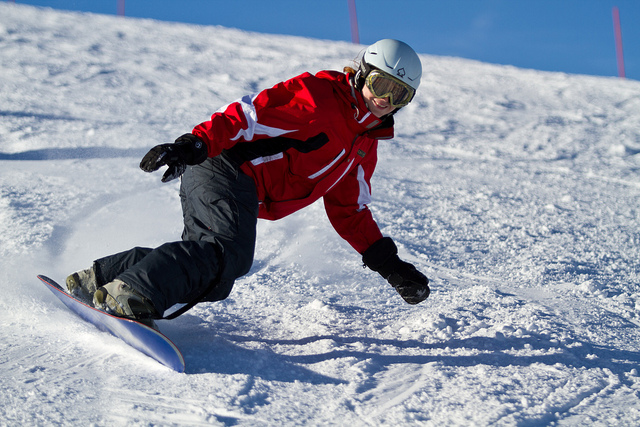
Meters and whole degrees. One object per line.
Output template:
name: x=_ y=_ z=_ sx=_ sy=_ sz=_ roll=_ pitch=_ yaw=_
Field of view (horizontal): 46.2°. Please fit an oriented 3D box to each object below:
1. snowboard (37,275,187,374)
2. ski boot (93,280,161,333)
snowboard: x=-1.763 y=1.055 z=6.828 sx=2.083 sy=0.530 sz=0.211 roll=19 pitch=54 yaw=16
ski boot: x=-1.774 y=0.785 z=6.890 sx=0.652 sy=0.257 sz=0.364 roll=26 pitch=8 yaw=10
